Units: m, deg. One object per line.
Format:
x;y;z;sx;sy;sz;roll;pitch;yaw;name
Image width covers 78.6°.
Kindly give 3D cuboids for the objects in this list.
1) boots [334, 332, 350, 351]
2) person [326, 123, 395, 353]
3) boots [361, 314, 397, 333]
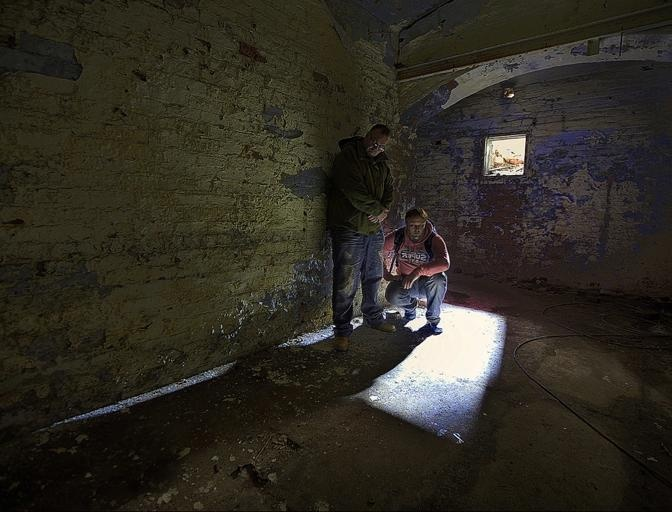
0.043;0.777;3.725;0.131;0.124;0.325;0;-9;3;boots
0.183;-0.201;3.889;0.721;2.011;0.581;-6;16;-45;person
0.437;0.698;4.241;0.379;0.134;0.132;-2;7;27;boots
